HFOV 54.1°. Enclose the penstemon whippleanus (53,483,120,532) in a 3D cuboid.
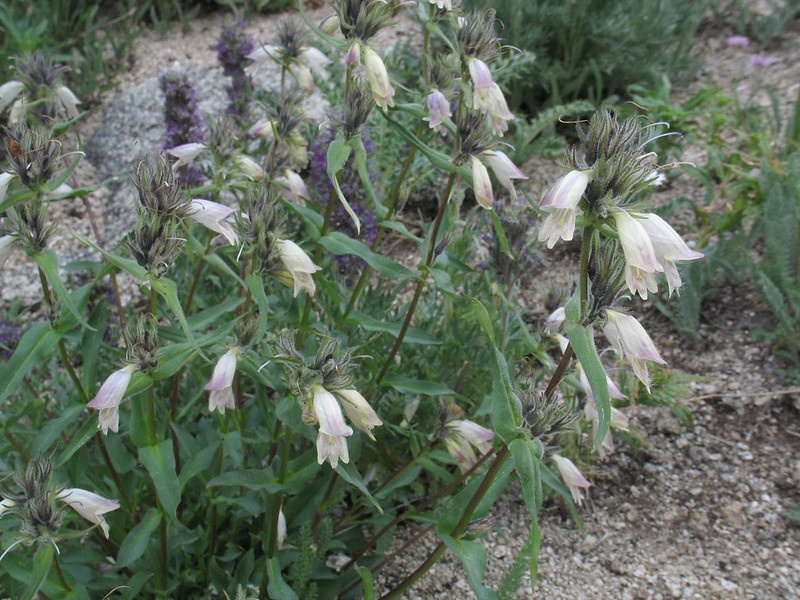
[{"bbox_3d":[-1.258,0.829,3.132,0.204,0.131,0.169,25,70,-10],"label":"penstemon whippleanus"}]
